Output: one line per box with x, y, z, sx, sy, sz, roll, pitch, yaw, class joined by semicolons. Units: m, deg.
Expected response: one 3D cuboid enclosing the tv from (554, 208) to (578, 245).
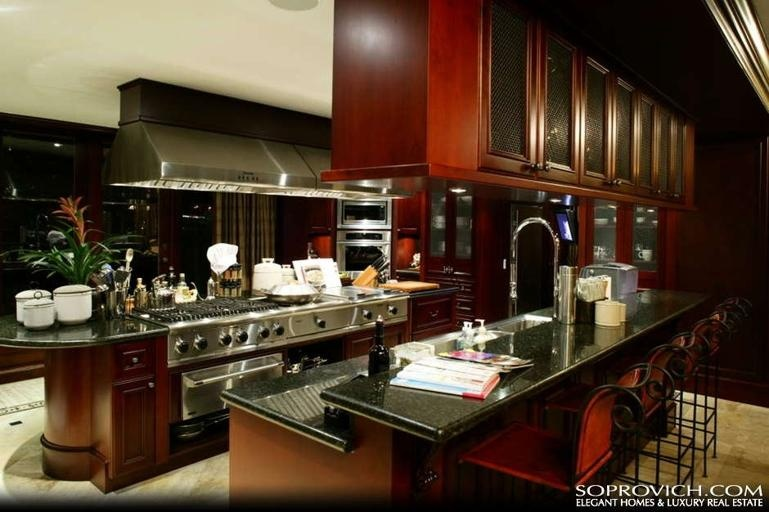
1.483;-0.254;4.363;0.159;0.257;0.176;-20;9;-26;tv

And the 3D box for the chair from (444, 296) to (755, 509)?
1.841;1.065;3.861;0.951;1.330;3.344;0;3;40;chair

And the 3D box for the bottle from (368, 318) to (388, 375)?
-0.030;0.491;3.072;0.120;0.302;0.217;-2;2;0;bottle

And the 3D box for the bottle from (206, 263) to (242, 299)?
-1.518;0.244;5.089;0.333;0.286;0.273;0;0;13;bottle

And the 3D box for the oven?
-0.304;-0.324;7.924;0.712;1.214;0.607;1;20;-2;oven

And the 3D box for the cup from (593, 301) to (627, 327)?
1.663;0.421;4.010;0.214;0.147;0.158;2;-2;-43;cup

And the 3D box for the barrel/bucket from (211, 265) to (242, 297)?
-1.513;0.242;5.159;0.255;0.305;0.325;-1;-3;28;barrel/bucket

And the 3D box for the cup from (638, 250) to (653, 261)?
2.919;-0.010;6.094;0.148;0.103;0.103;1;2;43;cup

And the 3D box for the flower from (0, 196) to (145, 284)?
-3.338;-0.182;5.708;1.061;0.691;1.002;-3;4;-41;flower

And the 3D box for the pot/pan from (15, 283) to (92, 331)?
-2.389;0.359;3.992;0.404;0.204;0.355;-1;2;-26;pot/pan

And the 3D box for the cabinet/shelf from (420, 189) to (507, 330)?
0.978;0.015;6.854;0.730;1.679;0.538;14;28;41;cabinet/shelf

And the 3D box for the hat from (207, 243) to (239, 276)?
-1.459;0.030;4.949;0.240;0.292;0.334;-2;2;-17;hat

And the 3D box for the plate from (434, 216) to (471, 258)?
0.860;-0.235;6.694;0.512;0.475;0.176;2;-1;41;plate

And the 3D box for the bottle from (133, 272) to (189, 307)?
-1.843;0.241;4.628;0.284;0.297;0.452;3;5;33;bottle
